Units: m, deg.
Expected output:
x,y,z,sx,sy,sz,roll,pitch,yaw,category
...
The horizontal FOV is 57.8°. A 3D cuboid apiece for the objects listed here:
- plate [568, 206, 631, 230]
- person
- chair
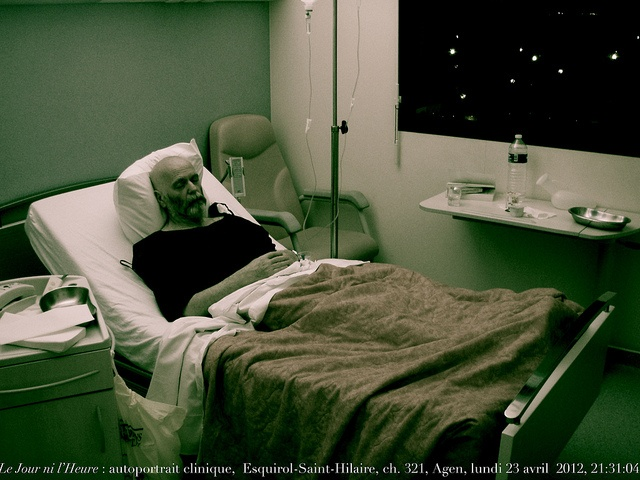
x,y,z,sx,sy,sz,roll,pitch,yaw,category
1.516,-0.121,3.165,0.202,0.042,0.152,13,22,38,plate
-0.626,0.057,3.011,0.918,0.573,0.689,23,35,36,person
-0.175,-0.122,3.935,1.070,1.361,0.847,8,17,31,chair
